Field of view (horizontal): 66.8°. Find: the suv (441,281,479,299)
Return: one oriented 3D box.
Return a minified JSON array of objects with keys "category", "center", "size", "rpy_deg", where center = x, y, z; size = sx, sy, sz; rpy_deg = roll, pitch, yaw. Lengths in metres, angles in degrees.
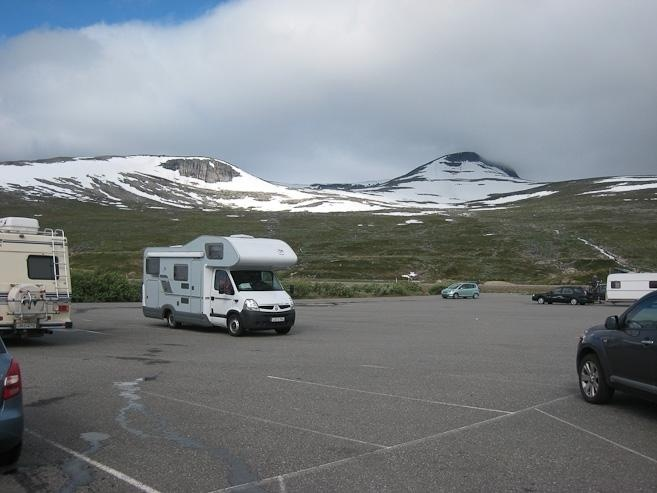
[{"category":"suv","center":[12.890,4.383,49.717],"size":[3.048,1.126,1.719],"rpy_deg":[4,-6,-27]}]
